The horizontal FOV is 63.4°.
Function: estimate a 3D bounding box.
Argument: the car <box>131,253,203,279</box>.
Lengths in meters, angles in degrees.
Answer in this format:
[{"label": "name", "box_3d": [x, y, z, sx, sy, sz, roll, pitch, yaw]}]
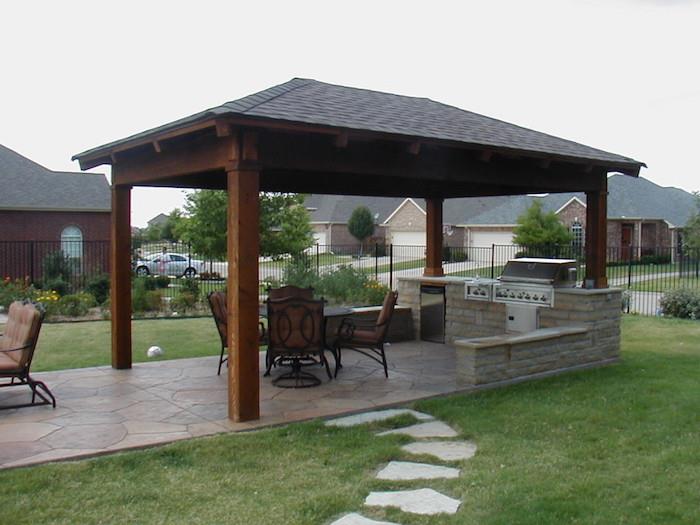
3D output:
[{"label": "car", "box_3d": [-8.380, 0.178, 26.215, 2.923, 0.946, 1.202, 3, -1, -11]}]

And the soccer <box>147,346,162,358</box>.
[{"label": "soccer", "box_3d": [-3.438, 1.571, 10.010, 0.227, 0.167, 0.228, 1, -5, -36]}]
